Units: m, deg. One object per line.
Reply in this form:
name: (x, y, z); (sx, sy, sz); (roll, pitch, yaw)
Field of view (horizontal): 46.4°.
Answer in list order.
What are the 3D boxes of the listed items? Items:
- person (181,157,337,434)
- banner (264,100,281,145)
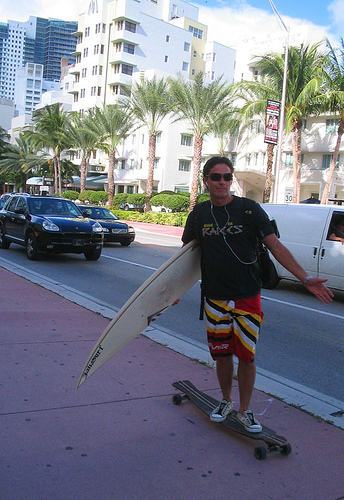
person: (0.419, 0.260, 2.454); (0.884, 1.542, 0.281); (7, 2, 24)
banner: (5.116, -6.613, 20.642); (0.506, 2.200, 1.316); (8, 3, 43)
